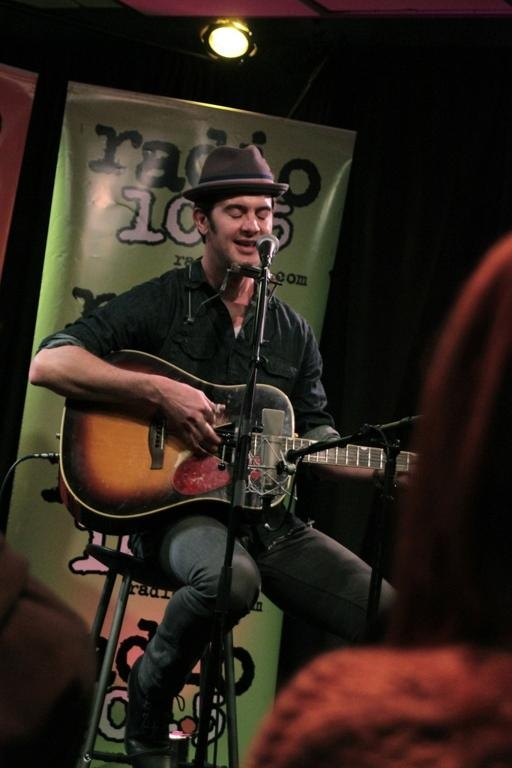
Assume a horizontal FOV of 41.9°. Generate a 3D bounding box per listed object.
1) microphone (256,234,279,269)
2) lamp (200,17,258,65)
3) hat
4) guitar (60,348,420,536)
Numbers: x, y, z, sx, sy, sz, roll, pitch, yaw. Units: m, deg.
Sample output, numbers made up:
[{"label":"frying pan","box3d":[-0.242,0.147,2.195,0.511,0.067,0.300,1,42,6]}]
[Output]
[{"label":"microphone","box3d":[0.031,-0.434,2.224,0.059,0.113,0.209,14,0,-3]},{"label":"lamp","box3d":[-0.137,-1.738,3.383,0.278,0.199,0.197,13,0,-10]},{"label":"hat","box3d":[-0.086,-0.840,2.707,0.271,0.126,0.330,1,-5,-10]},{"label":"guitar","box3d":[-0.186,0.259,2.364,1.026,0.643,0.502,12,0,11]}]
